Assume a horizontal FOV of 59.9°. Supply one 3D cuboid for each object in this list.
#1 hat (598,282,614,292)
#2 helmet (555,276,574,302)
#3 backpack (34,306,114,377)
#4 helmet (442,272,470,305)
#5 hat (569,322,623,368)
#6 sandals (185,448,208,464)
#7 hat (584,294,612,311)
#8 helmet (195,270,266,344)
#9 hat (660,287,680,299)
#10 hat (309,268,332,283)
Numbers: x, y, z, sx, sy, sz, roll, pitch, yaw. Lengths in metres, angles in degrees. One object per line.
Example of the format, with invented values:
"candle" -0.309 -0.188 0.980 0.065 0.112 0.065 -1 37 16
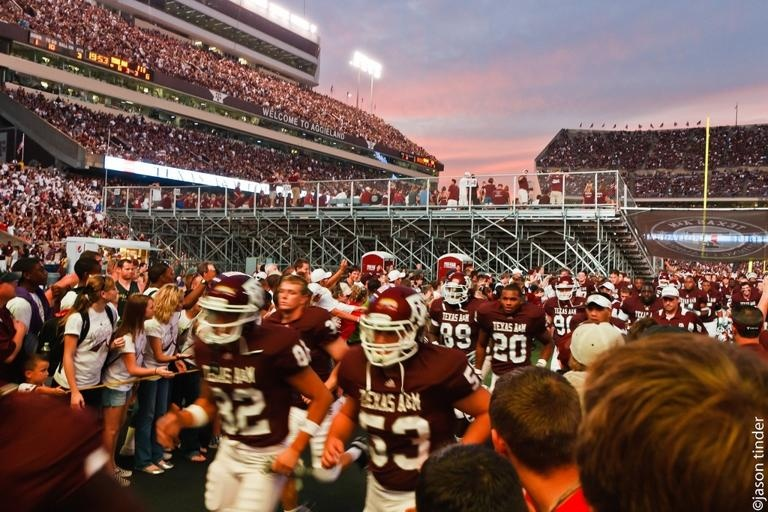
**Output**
"hat" 3.820 0.531 11.484 0.245 0.122 0.389 -21 -11 31
"helmet" 2.541 0.449 9.408 0.239 0.353 0.366 1 -2 15
"backpack" -3.126 0.814 6.568 0.461 0.684 1.156 4 -3 -45
"helmet" 0.873 0.404 8.179 0.315 0.408 0.295 2 -2 6
"hat" 1.609 0.681 5.051 0.361 0.326 0.419 2 -2 10
"sandals" -2.043 2.205 7.298 0.241 0.175 0.082 -1 -15 7
"hat" 2.358 0.496 7.348 0.246 0.164 0.315 1 -2 13
"helmet" -1.051 0.363 4.696 0.404 0.401 0.518 1 -1 30
"hat" 3.705 0.476 8.651 0.164 0.114 0.246 -2 -5 29
"hat" -0.850 0.274 8.618 0.186 0.094 0.270 10 19 40
